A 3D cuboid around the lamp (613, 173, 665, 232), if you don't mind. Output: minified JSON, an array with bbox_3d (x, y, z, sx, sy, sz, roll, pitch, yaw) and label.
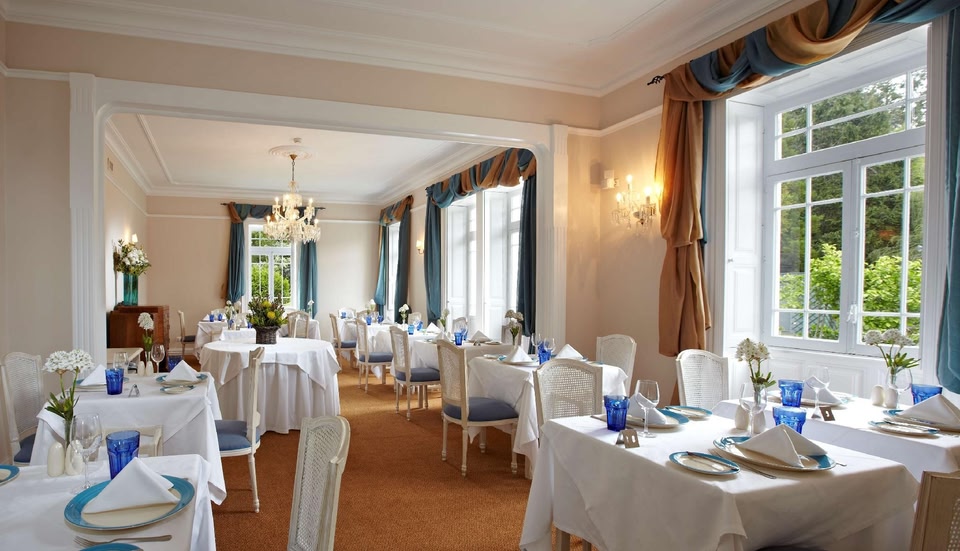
[{"bbox_3d":[1.944,-0.895,7.648,0.338,0.674,0.851,-5,15,-22],"label":"lamp"}]

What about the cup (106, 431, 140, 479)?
[{"bbox_3d":[-2.487,1.263,4.383,0.308,0.339,0.303,1,-3,0],"label":"cup"}]

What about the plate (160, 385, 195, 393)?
[{"bbox_3d":[-2.919,1.097,5.866,0.273,0.029,0.162,0,13,-4],"label":"plate"}]

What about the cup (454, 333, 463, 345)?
[{"bbox_3d":[-0.296,0.939,8.779,0.141,0.173,0.143,-2,-2,0],"label":"cup"}]

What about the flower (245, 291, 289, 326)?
[{"bbox_3d":[-3.449,0.553,9.759,0.712,0.598,0.595,2,-1,16],"label":"flower"}]

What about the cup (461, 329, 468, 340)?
[{"bbox_3d":[-0.254,0.902,8.983,0.121,0.178,0.120,-1,-2,0],"label":"cup"}]

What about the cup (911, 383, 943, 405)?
[{"bbox_3d":[3.928,1.059,5.360,0.208,0.175,0.149,-1,14,-10],"label":"cup"}]

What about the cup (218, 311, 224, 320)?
[{"bbox_3d":[-5.487,0.883,12.925,0.142,0.207,0.138,-1,3,0],"label":"cup"}]

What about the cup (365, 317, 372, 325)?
[{"bbox_3d":[-2.159,0.897,11.775,0.137,0.165,0.136,-3,-1,0],"label":"cup"}]

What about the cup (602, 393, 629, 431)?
[{"bbox_3d":[1.091,1.129,5.036,0.254,0.280,0.257,2,-1,0],"label":"cup"}]

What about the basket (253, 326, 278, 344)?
[{"bbox_3d":[-2.861,0.806,8.127,0.253,0.170,0.260,-2,-2,-1],"label":"basket"}]

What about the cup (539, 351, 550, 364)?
[{"bbox_3d":[0.744,0.966,7.065,0.152,0.165,0.150,0,-2,0],"label":"cup"}]

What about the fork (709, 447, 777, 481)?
[{"bbox_3d":[1.962,1.404,4.499,0.506,0.061,0.041,20,-6,31],"label":"fork"}]
